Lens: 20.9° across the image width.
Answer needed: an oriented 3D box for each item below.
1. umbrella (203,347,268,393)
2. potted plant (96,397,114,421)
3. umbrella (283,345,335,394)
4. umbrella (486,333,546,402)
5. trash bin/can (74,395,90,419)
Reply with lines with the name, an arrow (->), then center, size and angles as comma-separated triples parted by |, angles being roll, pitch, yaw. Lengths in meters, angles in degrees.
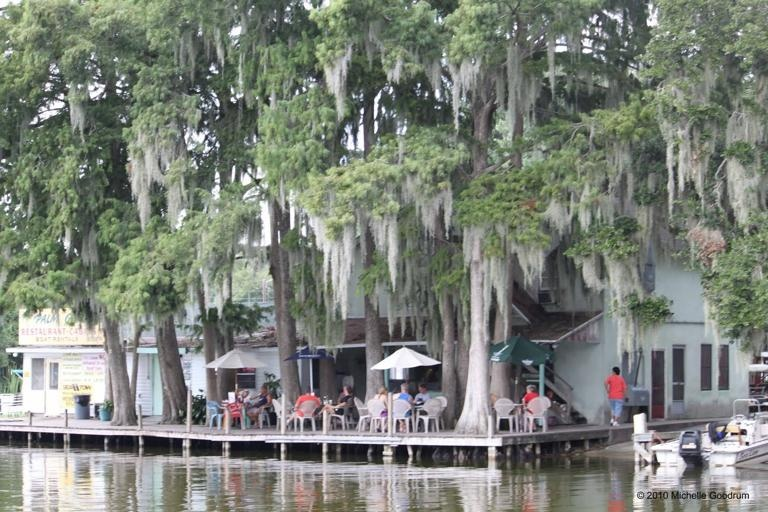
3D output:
umbrella -> -5.514, 4.332, 78.129 | 1.371, 1.112, 1.438 | 0, -4, 5
potted plant -> -11.152, 6.422, 84.170 | 0.841, 0.982, 0.763 | 0, -1, -3
umbrella -> -2.803, 4.013, 79.462 | 1.797, 1.783, 1.777 | 1, -19, -3
umbrella -> 4.717, 4.003, 74.490 | 1.311, 1.799, 1.036 | -1, 6, -9
trash bin/can -> -12.391, 6.405, 85.941 | 0.549, 1.054, 0.451 | -1, -5, -11
